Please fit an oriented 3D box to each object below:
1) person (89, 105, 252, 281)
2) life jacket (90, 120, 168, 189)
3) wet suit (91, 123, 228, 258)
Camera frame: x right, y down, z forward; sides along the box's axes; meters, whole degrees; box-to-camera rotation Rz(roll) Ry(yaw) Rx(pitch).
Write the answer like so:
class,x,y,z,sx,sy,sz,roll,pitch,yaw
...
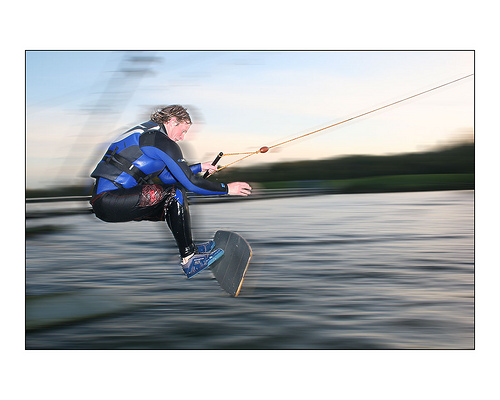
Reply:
class,x,y,z,sx,sy,sz,roll,pitch,yaw
person,-0.802,-0.087,5.578,1.262,1.574,0.327,2,0,-7
life jacket,-1.035,-0.407,5.638,0.604,0.512,0.685,4,8,43
wet suit,-0.809,-0.074,5.781,1.066,1.184,0.895,1,5,21
